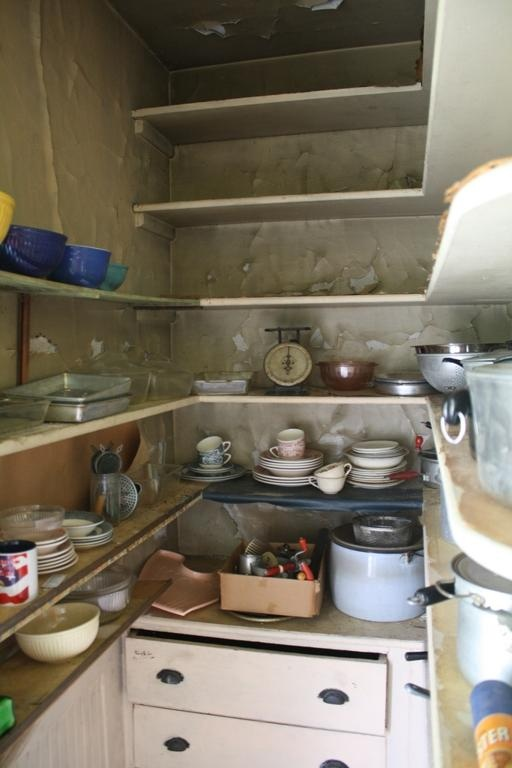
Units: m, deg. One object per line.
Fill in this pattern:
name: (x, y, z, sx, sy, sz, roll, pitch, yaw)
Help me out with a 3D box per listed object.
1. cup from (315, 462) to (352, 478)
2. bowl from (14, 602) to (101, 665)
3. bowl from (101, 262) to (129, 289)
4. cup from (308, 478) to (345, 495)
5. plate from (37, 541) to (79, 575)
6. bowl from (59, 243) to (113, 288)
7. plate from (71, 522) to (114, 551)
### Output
cup: (0.241, 0.265, 1.866, 0.070, 0.034, 0.060, -3, 1, -10)
bowl: (-0.428, 0.539, 1.343, 0.121, 0.062, 0.121, -3, -7, 0)
bowl: (-0.325, -0.249, 1.409, 0.058, 0.050, 0.063, 2, 5, 0)
cup: (0.220, 0.306, 1.874, 0.078, 0.040, 0.062, -2, -3, -39)
plate: (-0.404, 0.349, 1.234, 0.061, 0.024, 0.061, -1, 3, -6)
bowl: (-0.346, -0.239, 1.224, 0.091, 0.063, 0.095, 4, 3, 0)
plate: (-0.369, 0.349, 1.411, 0.048, 0.061, 0.134, -2, 3, 18)
